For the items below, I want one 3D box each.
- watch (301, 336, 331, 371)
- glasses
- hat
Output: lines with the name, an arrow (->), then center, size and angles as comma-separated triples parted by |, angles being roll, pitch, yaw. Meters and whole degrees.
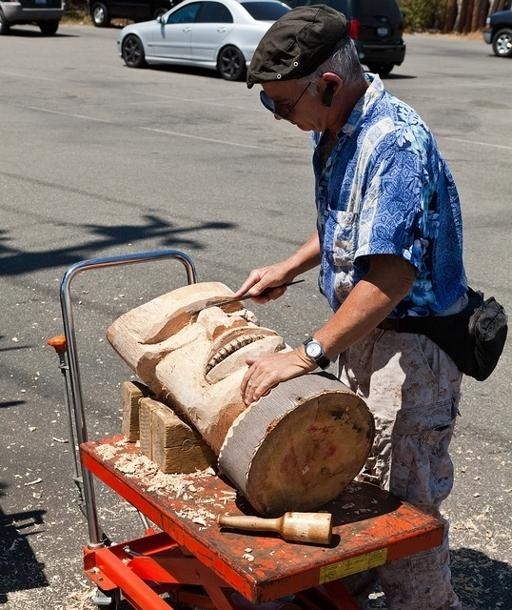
watch -> 0.172, 0.135, 1.799 | 0.094, 0.061, 0.090 | 48, -4, 19
glasses -> 0.129, -0.578, 1.914 | 0.167, 0.160, 0.051 | 7, -33, 51
hat -> 0.118, -0.684, 1.792 | 0.245, 0.206, 0.157 | 3, 16, -6
